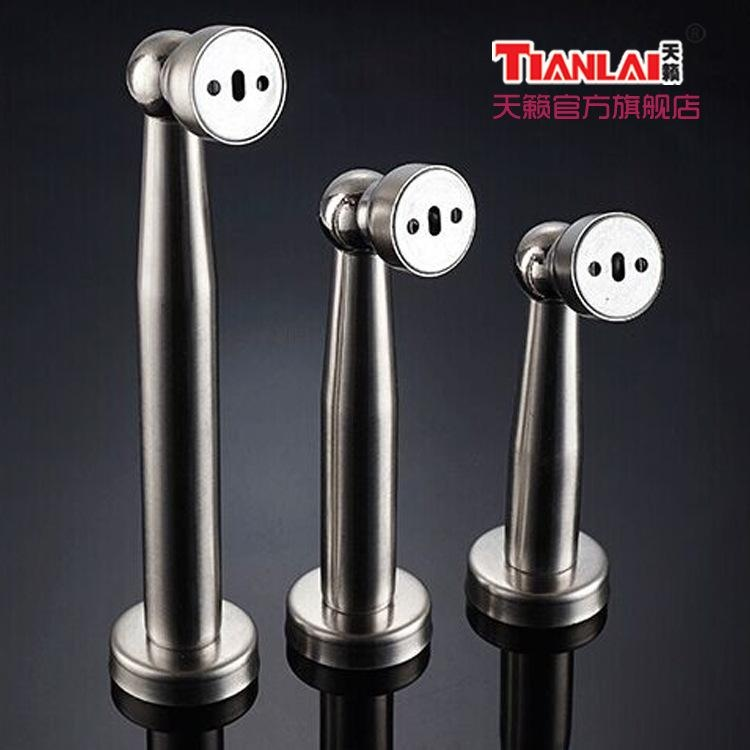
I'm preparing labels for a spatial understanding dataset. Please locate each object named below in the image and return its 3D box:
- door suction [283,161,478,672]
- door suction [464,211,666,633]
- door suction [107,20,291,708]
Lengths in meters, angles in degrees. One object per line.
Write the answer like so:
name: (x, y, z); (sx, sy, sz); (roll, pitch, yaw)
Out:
door suction: (-0.002, 0.034, 0.893); (0.124, 0.359, 0.178); (-2, 9, -7)
door suction: (0.135, 0.034, 0.966); (0.132, 0.323, 0.196); (-1, 9, 3)
door suction: (-0.119, 0.003, 0.845); (0.099, 0.444, 0.192); (-6, 10, -31)
